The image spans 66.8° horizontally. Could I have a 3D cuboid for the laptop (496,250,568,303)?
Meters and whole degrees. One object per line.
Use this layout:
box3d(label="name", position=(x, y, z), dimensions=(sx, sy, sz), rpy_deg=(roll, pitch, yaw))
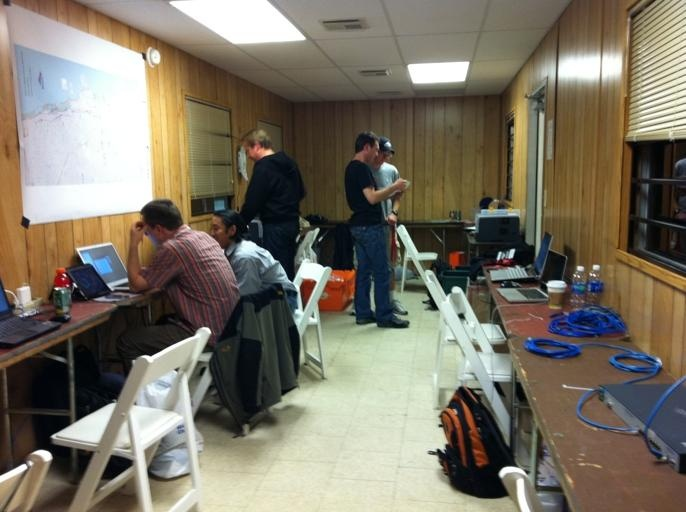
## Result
box3d(label="laptop", position=(1.305, 0.042, 3.620), dimensions=(0.338, 0.310, 0.483), rpy_deg=(0, 7, 6))

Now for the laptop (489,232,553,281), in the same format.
box3d(label="laptop", position=(1.413, 0.040, 4.121), dimensions=(0.379, 0.308, 0.470), rpy_deg=(-6, 6, 12))

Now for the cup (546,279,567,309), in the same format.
box3d(label="cup", position=(1.341, 0.237, 3.254), dimensions=(0.147, 0.180, 0.153), rpy_deg=(0, 0, 0))

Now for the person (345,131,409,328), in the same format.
box3d(label="person", position=(0.330, -0.253, 5.427), dimensions=(0.612, 2.038, 0.356), rpy_deg=(1, 10, 10))

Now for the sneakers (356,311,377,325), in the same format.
box3d(label="sneakers", position=(0.253, 0.682, 5.720), dimensions=(0.241, 0.115, 0.098), rpy_deg=(-3, 8, -13))

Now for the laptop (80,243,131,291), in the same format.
box3d(label="laptop", position=(-1.747, 0.054, 3.803), dimensions=(0.301, 0.247, 0.378), rpy_deg=(5, 9, 9))

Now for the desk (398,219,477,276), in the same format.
box3d(label="desk", position=(1.476, 0.061, 7.909), dimensions=(1.121, 0.811, 0.638), rpy_deg=(0, 0, 4))

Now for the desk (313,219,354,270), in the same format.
box3d(label="desk", position=(-0.140, -0.150, 7.605), dimensions=(0.564, 1.093, 0.857), rpy_deg=(0, 0, -8))

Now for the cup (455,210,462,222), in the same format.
box3d(label="cup", position=(1.748, -0.631, 7.979), dimensions=(0.128, 0.141, 0.234), rpy_deg=(3, 12, 20))

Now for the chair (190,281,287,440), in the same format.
box3d(label="chair", position=(-0.539, 0.648, 3.492), dimensions=(0.327, 0.823, 0.644), rpy_deg=(4, 9, 22))

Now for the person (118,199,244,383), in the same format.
box3d(label="person", position=(-1.301, 0.188, 4.332), dimensions=(1.099, 1.981, 0.849), rpy_deg=(1, -1, 2))

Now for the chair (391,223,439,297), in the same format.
box3d(label="chair", position=(1.015, 0.031, 7.072), dimensions=(0.499, 0.805, 0.489), rpy_deg=(-1, 8, 3))

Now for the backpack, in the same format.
box3d(label="backpack", position=(0.737, 1.060, 2.947), dimensions=(0.183, 0.503, 0.372), rpy_deg=(-21, -1, -2))

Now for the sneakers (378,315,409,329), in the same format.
box3d(label="sneakers", position=(0.528, 0.708, 5.601), dimensions=(0.352, 0.171, 0.138), rpy_deg=(-1, 4, 1))

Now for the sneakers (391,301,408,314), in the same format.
box3d(label="sneakers", position=(0.639, 0.595, 6.061), dimensions=(0.094, 0.126, 0.292), rpy_deg=(-2, 1, -23))

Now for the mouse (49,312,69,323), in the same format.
box3d(label="mouse", position=(-1.600, 0.346, 2.948), dimensions=(0.063, 0.031, 0.068), rpy_deg=(2, 9, 1))
